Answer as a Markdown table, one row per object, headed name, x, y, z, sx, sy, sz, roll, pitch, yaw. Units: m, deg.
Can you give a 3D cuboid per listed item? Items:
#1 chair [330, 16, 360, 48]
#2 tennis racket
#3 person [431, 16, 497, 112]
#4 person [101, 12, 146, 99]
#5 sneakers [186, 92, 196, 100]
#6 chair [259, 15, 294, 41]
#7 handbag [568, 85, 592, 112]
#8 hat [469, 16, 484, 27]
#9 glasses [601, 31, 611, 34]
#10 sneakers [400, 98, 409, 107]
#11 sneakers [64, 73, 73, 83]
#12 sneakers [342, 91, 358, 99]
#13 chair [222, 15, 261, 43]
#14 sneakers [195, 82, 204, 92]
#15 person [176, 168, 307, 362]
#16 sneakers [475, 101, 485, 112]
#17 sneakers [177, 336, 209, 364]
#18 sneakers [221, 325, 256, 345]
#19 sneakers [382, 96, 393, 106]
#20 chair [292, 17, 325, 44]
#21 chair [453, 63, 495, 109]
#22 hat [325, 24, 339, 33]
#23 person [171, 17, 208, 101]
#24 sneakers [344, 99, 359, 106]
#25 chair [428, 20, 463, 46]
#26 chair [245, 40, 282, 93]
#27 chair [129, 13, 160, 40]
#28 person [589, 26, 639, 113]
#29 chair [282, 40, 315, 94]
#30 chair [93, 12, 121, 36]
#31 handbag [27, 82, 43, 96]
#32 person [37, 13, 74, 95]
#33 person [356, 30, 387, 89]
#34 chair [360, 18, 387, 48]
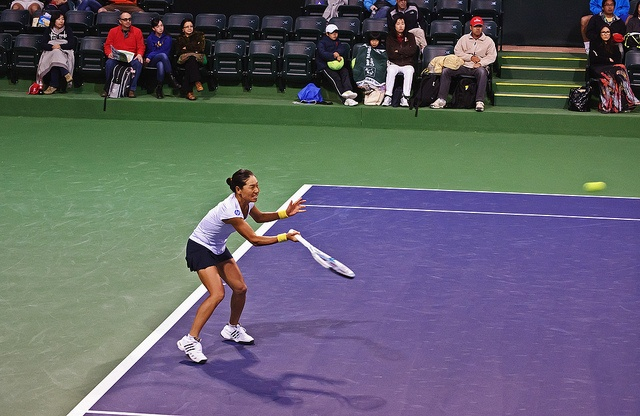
| name | x | y | z | sx | sy | sz | roll | pitch | yaw |
| --- | --- | --- | --- | --- | --- | --- | --- | --- | --- |
| chair | 0.681 | -4.444 | 14.360 | 0.812 | 0.852 | 0.747 | 2 | 13 | 7 |
| tennis racket | 0.072 | 0.441 | 4.862 | 0.206 | 0.120 | 0.958 | 0 | 27 | -44 |
| person | 3.336 | -3.296 | 12.876 | 1.234 | 2.107 | 0.923 | 5 | 12 | 14 |
| person | -4.765 | -3.704 | 13.714 | 0.998 | 1.997 | 0.596 | -1 | 12 | -14 |
| sneakers | -3.087 | -2.700 | 13.643 | 0.193 | 0.192 | 0.356 | 0 | 11 | -12 |
| chair | -1.115 | -4.662 | 14.698 | 0.798 | 0.727 | 0.650 | 1 | 11 | -6 |
| handbag | 5.837 | -2.466 | 12.727 | 0.456 | 0.578 | 0.360 | 7 | 12 | 21 |
| hat | 3.571 | -4.267 | 12.928 | 0.279 | 0.193 | 0.374 | -1 | 4 | 2 |
| glasses | 6.381 | -3.942 | 12.641 | 0.103 | 0.031 | 0.101 | 2 | 2 | 13 |
| sneakers | 1.946 | -2.442 | 13.002 | 0.186 | 0.213 | 0.300 | 2 | 11 | 1 |
| sneakers | -6.249 | -3.262 | 14.111 | 0.106 | 0.111 | 0.270 | -16 | 50 | -37 |
| sneakers | 0.691 | -2.668 | 13.268 | 0.370 | 0.192 | 0.228 | 2 | 11 | 0 |
| chair | -2.049 | -4.812 | 14.977 | 0.794 | 0.854 | 0.770 | 1 | 7 | 2 |
| sneakers | -2.960 | -2.995 | 13.908 | 0.235 | 0.069 | 0.414 | -4 | 33 | -12 |
| person | -0.782 | 0.487 | 5.096 | 0.978 | 1.671 | 0.609 | -1 | 12 | -14 |
| sneakers | 3.600 | -2.293 | 12.726 | 0.207 | 0.236 | 0.290 | 5 | 11 | 13 |
| sneakers | -1.123 | 1.254 | 4.988 | 0.271 | 0.120 | 0.099 | 37 | 29 | 11 |
| sneakers | -0.756 | 1.143 | 5.300 | 0.355 | 0.146 | 0.136 | 11 | 13 | 11 |
| sneakers | 1.562 | -2.477 | 13.060 | 0.253 | 0.233 | 0.203 | 1 | 11 | -8 |
| chair | -0.284 | -4.517 | 14.516 | 0.777 | 0.863 | 0.757 | 1 | 14 | 2 |
| chair | 3.553 | -2.789 | 13.288 | 1.008 | 1.112 | 1.231 | 2 | 3 | 21 |
| hat | 0.268 | -4.180 | 13.203 | 0.249 | 0.218 | 0.236 | 3 | 11 | 3 |
| person | -3.162 | -3.611 | 13.755 | 0.672 | 1.883 | 0.593 | 5 | 12 | 15 |
| sneakers | 0.729 | -2.464 | 13.154 | 0.137 | 0.125 | 0.309 | -17 | 16 | -38 |
| chair | 3.153 | -4.420 | 14.123 | 0.785 | 0.816 | 0.721 | 2 | 10 | 5 |
| chair | -1.416 | -3.542 | 14.003 | 0.853 | 1.238 | 0.663 | 2 | 11 | 0 |
| chair | -4.611 | -4.824 | 15.129 | 0.811 | 0.935 | 0.761 | -1 | 10 | -4 |
| person | 6.509 | -3.084 | 12.601 | 1.064 | 1.873 | 0.602 | 10 | 13 | 33 |
| chair | -0.523 | -3.484 | 13.843 | 0.822 | 1.253 | 0.761 | 1 | 11 | -4 |
| chair | -5.667 | -4.884 | 15.047 | 0.637 | 0.690 | 0.667 | 0 | 10 | -7 |
| handbag | -7.085 | -2.929 | 14.107 | 0.312 | 0.361 | 0.194 | 0 | -25 | -8 |
| person | -6.559 | -3.849 | 14.036 | 0.875 | 2.013 | 0.605 | -1 | 12 | -15 |
| person | 1.181 | -3.386 | 13.071 | 0.854 | 1.140 | 0.408 | 2 | 1 | 4 |
| chair | 1.361 | -4.255 | 13.965 | 0.895 | 0.763 | 0.776 | 1 | 17 | 5 |
